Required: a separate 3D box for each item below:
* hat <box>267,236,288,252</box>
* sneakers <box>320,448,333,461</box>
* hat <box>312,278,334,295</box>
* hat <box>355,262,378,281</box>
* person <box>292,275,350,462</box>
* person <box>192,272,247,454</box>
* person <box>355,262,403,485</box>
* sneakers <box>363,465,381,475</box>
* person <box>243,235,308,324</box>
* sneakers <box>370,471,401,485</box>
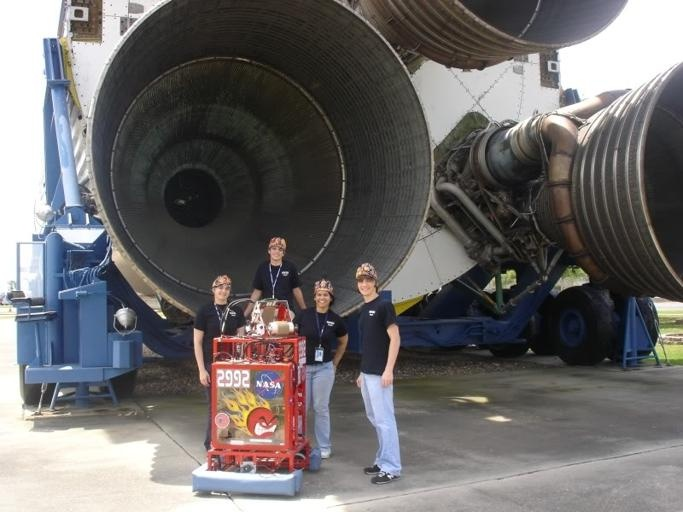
[{"bbox_3d":[-0.789,-0.151,7.610,0.225,0.232,0.287,0,-2,-2],"label":"hat"},{"bbox_3d":[-0.161,2.173,6.605,0.125,0.075,0.133,2,-9,-9],"label":"sneakers"},{"bbox_3d":[-0.210,0.341,6.809,0.195,0.199,0.249,-1,7,0],"label":"hat"},{"bbox_3d":[0.274,0.166,6.459,0.145,0.139,0.249,-2,-19,5],"label":"hat"},{"bbox_3d":[-0.170,1.241,6.766,0.524,1.930,0.544,1,0,-33],"label":"person"},{"bbox_3d":[-1.318,1.240,6.811,0.605,2.143,0.608,-1,2,-29],"label":"person"},{"bbox_3d":[0.403,1.165,6.244,0.401,2.152,0.591,0,0,-14],"label":"person"},{"bbox_3d":[0.319,2.203,6.216,0.184,0.087,0.070,3,-1,-11],"label":"sneakers"},{"bbox_3d":[-0.825,0.329,7.857,0.970,1.345,0.408,0,2,-11],"label":"person"},{"bbox_3d":[0.443,2.183,5.970,0.276,0.130,0.107,4,1,-11],"label":"sneakers"}]
